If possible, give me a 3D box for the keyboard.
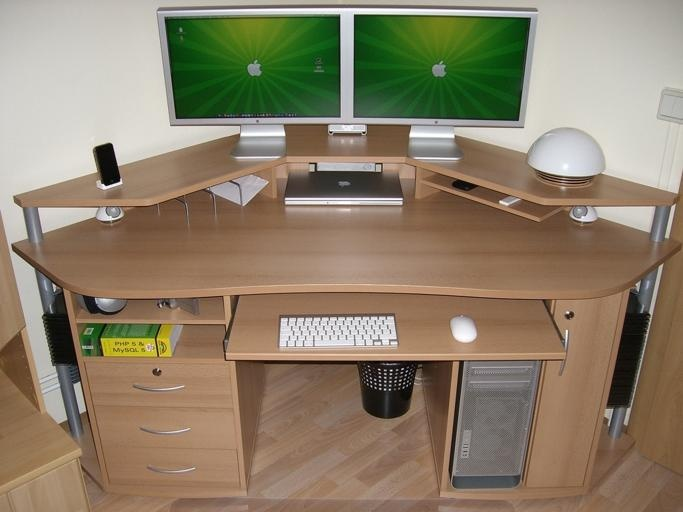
[{"bbox_3d":[-0.008,0.277,2.015,0.356,0.031,0.119,-2,49,1],"label":"keyboard"}]

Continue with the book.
[{"bbox_3d":[-0.840,0.316,2.139,0.376,0.113,0.151,1,20,0],"label":"book"}]

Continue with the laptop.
[{"bbox_3d":[0.009,-0.318,2.490,0.419,0.037,0.216,1,31,-2],"label":"laptop"}]

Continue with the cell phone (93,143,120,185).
[{"bbox_3d":[-0.941,-0.367,2.165,0.086,0.163,0.079,-10,24,-26],"label":"cell phone"}]

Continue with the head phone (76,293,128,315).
[{"bbox_3d":[-0.921,0.174,2.047,0.127,0.064,0.092,1,31,-9],"label":"head phone"}]

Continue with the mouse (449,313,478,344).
[{"bbox_3d":[0.456,0.269,2.023,0.107,0.073,0.114,9,21,22],"label":"mouse"}]
